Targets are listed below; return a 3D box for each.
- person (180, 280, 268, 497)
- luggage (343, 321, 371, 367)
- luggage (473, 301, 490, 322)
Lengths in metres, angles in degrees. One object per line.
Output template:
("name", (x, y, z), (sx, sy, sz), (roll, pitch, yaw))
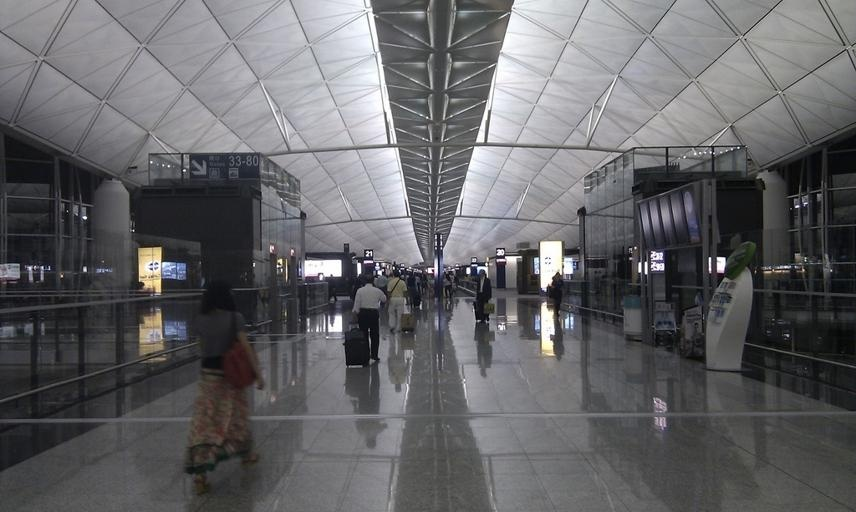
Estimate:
("person", (-3.731, 2.299, 10.200), (1.282, 3.570, 0.890), (-4, 7, -24))
("luggage", (-2.175, 2.636, 17.097), (0.823, 1.029, 0.733), (-6, 5, -7))
("luggage", (2.602, 2.710, 27.503), (1.038, 1.273, 0.746), (2, 12, 0))
